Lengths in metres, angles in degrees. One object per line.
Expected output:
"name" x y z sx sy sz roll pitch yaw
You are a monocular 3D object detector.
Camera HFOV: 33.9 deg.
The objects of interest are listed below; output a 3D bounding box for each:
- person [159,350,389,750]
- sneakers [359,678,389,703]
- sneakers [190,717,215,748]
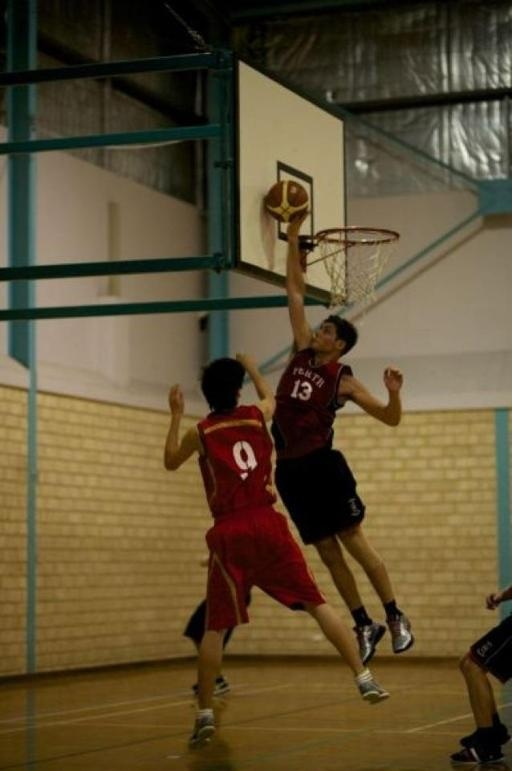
"person" 0.029 0.629 3.060 0.804 1.431 0.548 3 6 2
"sneakers" 0.411 1.058 2.917 0.058 0.063 0.148 -21 -23 12
"sneakers" -0.191 1.224 2.967 0.082 0.099 0.230 0 -22 -12
